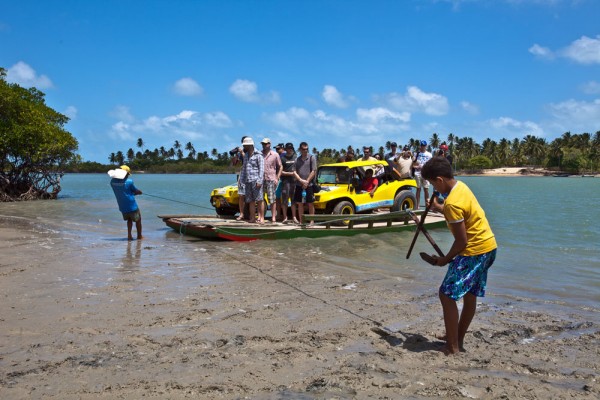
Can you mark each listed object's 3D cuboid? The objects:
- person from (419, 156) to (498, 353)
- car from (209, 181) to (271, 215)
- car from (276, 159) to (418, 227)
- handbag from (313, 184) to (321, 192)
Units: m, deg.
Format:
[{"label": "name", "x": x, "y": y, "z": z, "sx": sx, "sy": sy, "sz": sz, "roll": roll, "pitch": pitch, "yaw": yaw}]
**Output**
[{"label": "person", "x": 1.996, "y": 0.732, "z": 5.445, "sx": 0.931, "sy": 2.564, "sz": 0.420, "roll": 8, "pitch": 11, "yaw": 20}, {"label": "car", "x": -2.148, "y": 0.014, "z": 14.812, "sx": 2.075, "sy": 0.525, "sz": 1.240, "roll": 5, "pitch": -5, "yaw": -40}, {"label": "car", "x": 1.785, "y": -0.379, "z": 14.190, "sx": 3.652, "sy": 1.253, "sz": 2.141, "roll": -1, "pitch": 0, "yaw": -35}, {"label": "handbag", "x": 0.507, "y": -0.374, "z": 12.894, "sx": 0.297, "sy": 0.249, "sz": 0.228, "roll": 4, "pitch": -8, "yaw": -16}]
